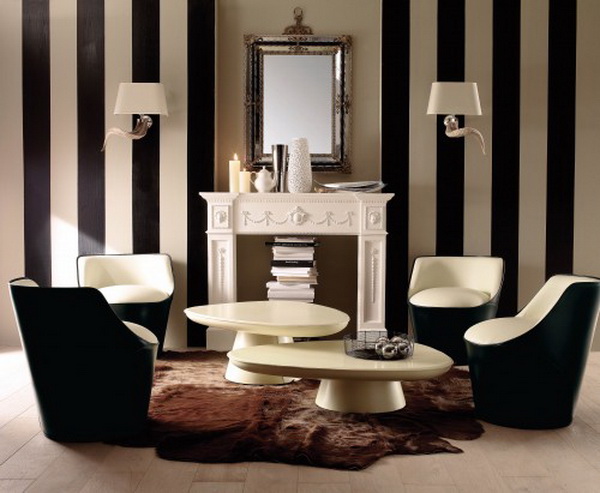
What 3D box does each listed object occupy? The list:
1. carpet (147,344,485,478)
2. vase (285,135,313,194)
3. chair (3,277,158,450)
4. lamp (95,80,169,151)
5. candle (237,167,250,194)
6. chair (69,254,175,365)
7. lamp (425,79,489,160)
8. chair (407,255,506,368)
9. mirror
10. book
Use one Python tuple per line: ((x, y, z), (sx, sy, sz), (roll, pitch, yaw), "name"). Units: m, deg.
((-0.025, 0.876, 2.924), (1.899, 0.058, 1.300), (2, 7, 13), "carpet")
((-0.008, -0.604, 4.178), (0.189, 0.413, 0.205), (0, 7, -1), "vase")
((-0.979, 0.546, 2.498), (0.728, 0.778, 0.595), (1, -1, -41), "chair")
((-1.197, -1.010, 4.137), (0.499, 0.567, 0.344), (0, 12, -6), "lamp")
((-0.429, -0.485, 4.234), (0.084, 0.161, 0.300), (-1, 7, -6), "candle")
((-1.270, 0.444, 4.031), (0.674, 0.826, 0.702), (-2, 0, -9), "chair")
((1.145, -0.949, 4.114), (0.469, 0.766, 0.447), (1, 11, 8), "lamp")
((1.115, 0.473, 4.015), (0.627, 0.875, 0.731), (3, 0, 28), "chair")
((-0.008, -1.176, 4.399), (1.061, 1.434, 0.102), (0, 2, -2), "mirror")
((-0.021, 0.191, 4.283), (0.418, 0.591, 0.454), (1, -1, 0), "book")
